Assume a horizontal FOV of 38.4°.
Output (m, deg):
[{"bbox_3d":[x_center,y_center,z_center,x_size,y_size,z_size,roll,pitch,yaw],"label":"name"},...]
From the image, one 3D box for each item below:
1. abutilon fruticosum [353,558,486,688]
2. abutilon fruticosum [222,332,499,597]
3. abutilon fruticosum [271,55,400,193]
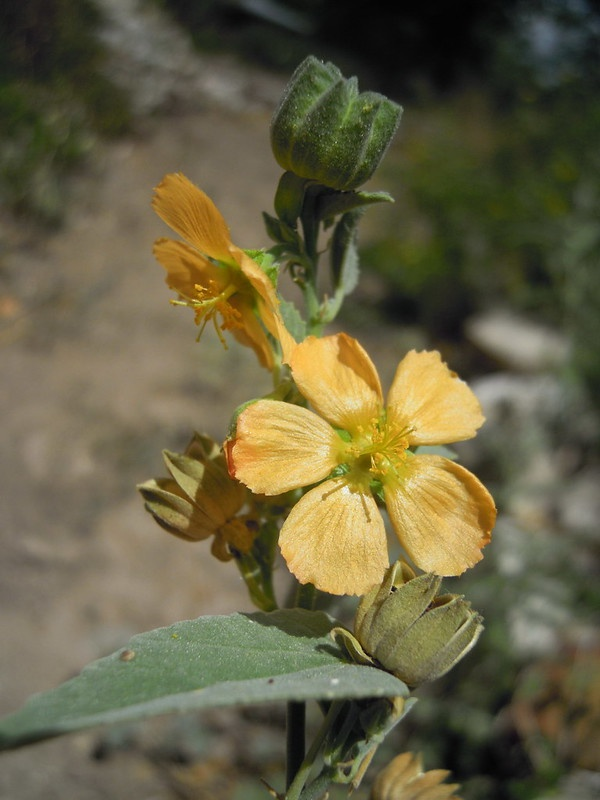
[{"bbox_3d":[0.103,0.210,0.809,0.092,0.085,0.109,-40,71,-20],"label":"abutilon fruticosum"},{"bbox_3d":[0.055,0.066,0.851,0.256,0.145,0.248,0,61,-3],"label":"abutilon fruticosum"},{"bbox_3d":[0.026,-0.265,0.872,0.107,0.100,0.110,-12,37,-45],"label":"abutilon fruticosum"}]
